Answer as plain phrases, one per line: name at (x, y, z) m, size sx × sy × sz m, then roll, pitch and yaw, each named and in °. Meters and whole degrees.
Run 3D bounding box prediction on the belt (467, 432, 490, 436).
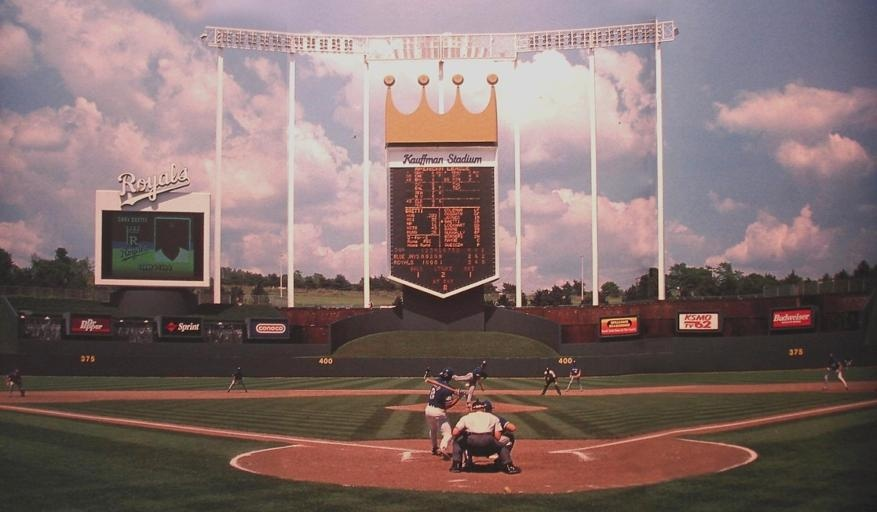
belt at (2.543, 11.282, 68.600) m, size 1.367 × 0.223 × 0.166 m, roll 0°, pitch -4°, yaw -3°
